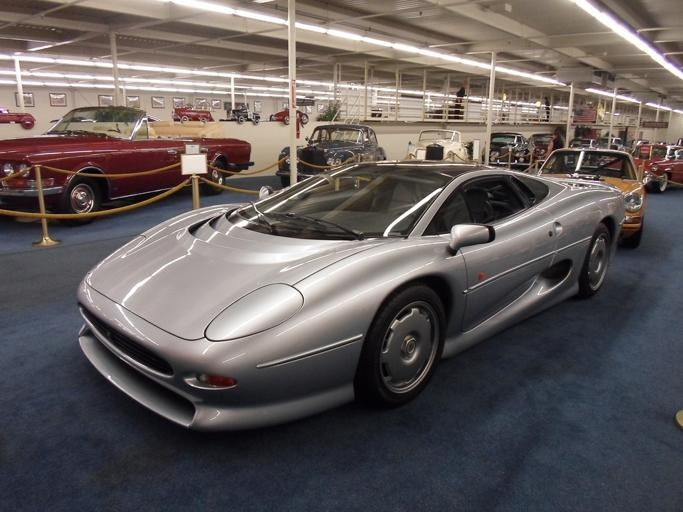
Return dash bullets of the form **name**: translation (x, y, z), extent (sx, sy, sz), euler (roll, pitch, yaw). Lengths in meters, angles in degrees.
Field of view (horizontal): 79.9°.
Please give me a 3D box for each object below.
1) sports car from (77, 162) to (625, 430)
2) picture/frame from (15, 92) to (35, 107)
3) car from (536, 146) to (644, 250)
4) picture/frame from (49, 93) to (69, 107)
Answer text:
- **sports car**: translation (0.527, 0.050, 2.984), extent (3.752, 0.764, 1.707), euler (-10, 16, -36)
- **picture/frame**: translation (-20.967, -10.391, 26.777), extent (0.810, 0.983, 1.026), euler (0, 17, -1)
- **car**: translation (4.309, -1.219, 6.761), extent (1.374, 0.803, 2.440), euler (5, 11, 33)
- **picture/frame**: translation (-19.750, -10.986, 28.286), extent (0.135, 0.779, 1.359), euler (22, 22, 41)
